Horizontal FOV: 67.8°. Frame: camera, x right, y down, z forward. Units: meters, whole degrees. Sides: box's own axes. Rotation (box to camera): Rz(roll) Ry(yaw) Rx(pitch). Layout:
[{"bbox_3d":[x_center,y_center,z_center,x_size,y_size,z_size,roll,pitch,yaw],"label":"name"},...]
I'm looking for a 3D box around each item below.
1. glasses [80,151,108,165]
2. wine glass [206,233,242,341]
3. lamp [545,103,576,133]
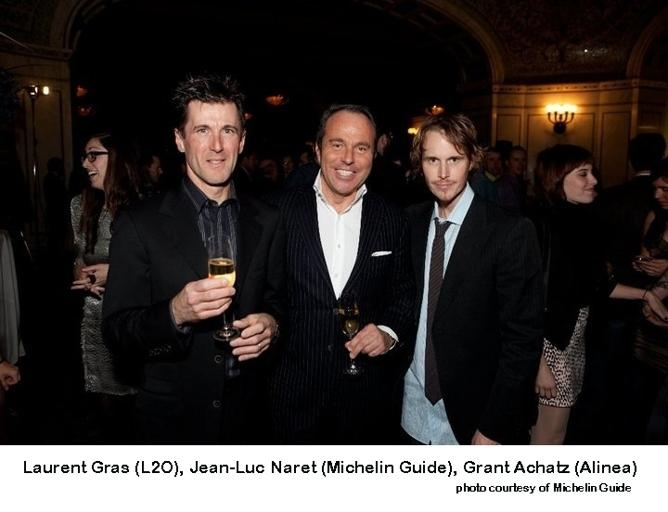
[{"bbox_3d":[-1.922,-0.799,3.972,0.138,0.040,0.132,-5,5,-44],"label":"glasses"},{"bbox_3d":[-0.566,0.162,2.540,0.138,0.539,0.220,-3,14,-13],"label":"wine glass"},{"bbox_3d":[6.244,-3.814,13.704,0.799,0.791,0.417,-1,1,2],"label":"lamp"}]
